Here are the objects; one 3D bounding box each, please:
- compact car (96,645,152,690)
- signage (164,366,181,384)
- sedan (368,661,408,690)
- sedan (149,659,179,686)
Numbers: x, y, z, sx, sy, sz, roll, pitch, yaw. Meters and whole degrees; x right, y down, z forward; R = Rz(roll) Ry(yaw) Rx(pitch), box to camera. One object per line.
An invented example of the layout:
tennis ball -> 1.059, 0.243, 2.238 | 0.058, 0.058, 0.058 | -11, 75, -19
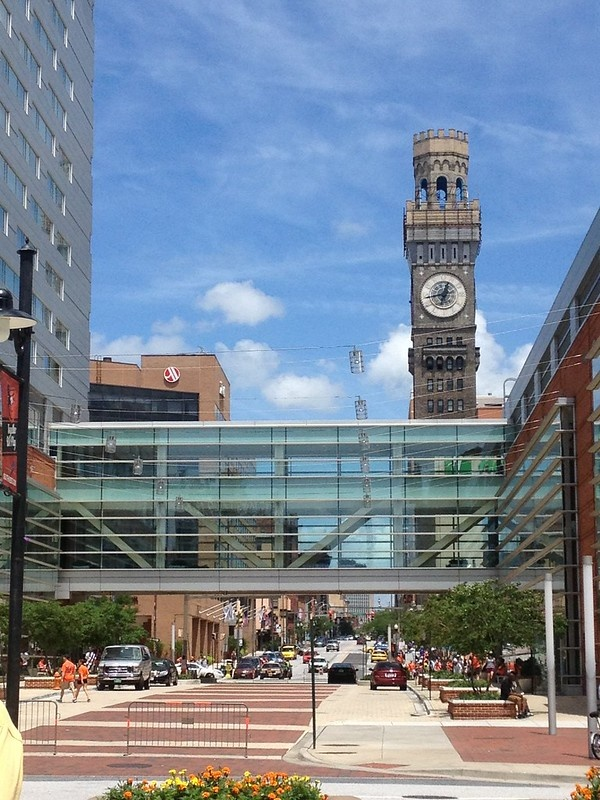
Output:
compact car -> -6.278, 9.586, 47.543 | 1.722, 1.596, 2.270 | 1, -16, -8
signage -> -12.608, -2.275, 133.285 | 1.585, 1.574, 0.372 | -12, -9, 25
sedan -> 3.490, 11.302, 54.446 | 1.413, 1.206, 1.884 | -2, -15, 3
sedan -> -5.638, 11.388, 55.292 | 0.946, 1.117, 2.510 | 0, -15, -6
